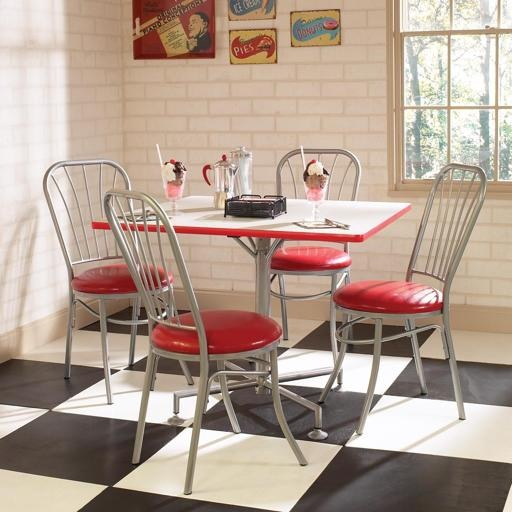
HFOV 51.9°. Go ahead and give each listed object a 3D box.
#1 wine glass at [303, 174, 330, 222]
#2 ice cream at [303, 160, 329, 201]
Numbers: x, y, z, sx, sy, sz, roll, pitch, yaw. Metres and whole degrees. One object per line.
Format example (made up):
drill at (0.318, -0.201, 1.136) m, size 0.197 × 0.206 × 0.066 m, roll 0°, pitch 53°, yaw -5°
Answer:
wine glass at (0.227, -0.234, 2.160) m, size 0.142 × 0.172 × 0.123 m, roll -7°, pitch -1°, yaw 15°
ice cream at (0.243, -0.312, 2.166) m, size 0.099 × 0.171 × 0.146 m, roll -2°, pitch 8°, yaw 4°
